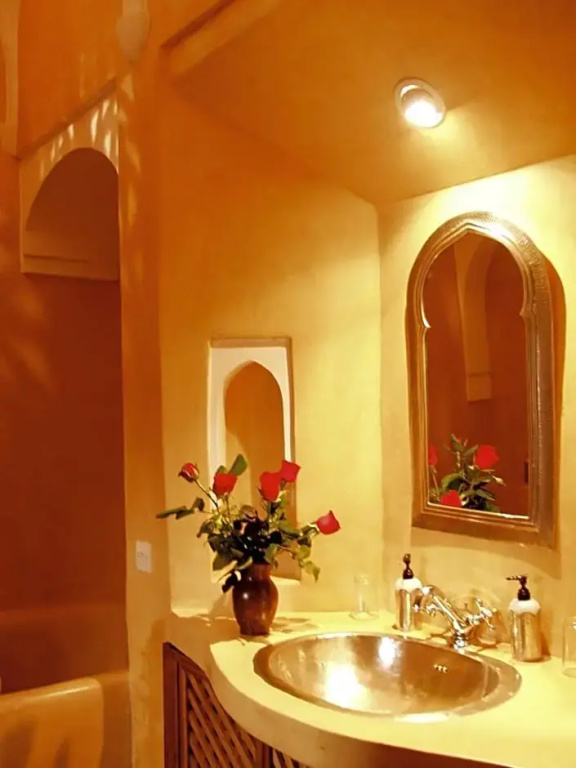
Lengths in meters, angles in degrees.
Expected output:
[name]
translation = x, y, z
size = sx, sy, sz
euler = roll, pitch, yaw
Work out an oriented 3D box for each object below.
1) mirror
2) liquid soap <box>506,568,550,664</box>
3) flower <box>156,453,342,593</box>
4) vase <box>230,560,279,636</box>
[mirror]
translation = 0.420, -0.022, 1.573
size = 0.058, 0.737, 0.438
euler = 2, -7, -29
[liquid soap]
translation = 0.485, 0.470, 1.397
size = 0.081, 0.166, 0.049
euler = 0, -6, -18
[flower]
translation = -0.106, 0.349, 1.764
size = 0.434, 0.331, 0.477
euler = -1, -6, -9
[vase]
translation = -0.077, 0.498, 1.615
size = 0.104, 0.165, 0.096
euler = 1, -6, -22
